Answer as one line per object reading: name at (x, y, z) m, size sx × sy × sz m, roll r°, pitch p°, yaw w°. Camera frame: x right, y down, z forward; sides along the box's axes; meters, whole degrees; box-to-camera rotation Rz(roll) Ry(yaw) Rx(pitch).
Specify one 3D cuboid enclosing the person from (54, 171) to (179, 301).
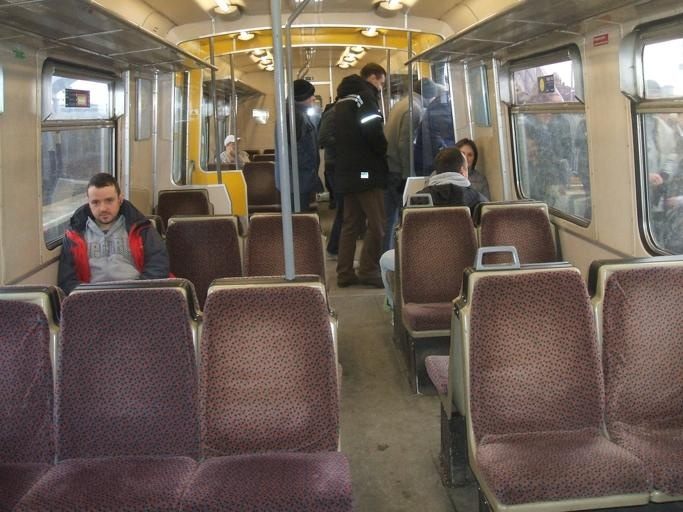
person at (-1.718, -0.066, 4.335) m, size 0.746 × 1.108 × 0.834 m, roll -10°, pitch -5°, yaw 11°
